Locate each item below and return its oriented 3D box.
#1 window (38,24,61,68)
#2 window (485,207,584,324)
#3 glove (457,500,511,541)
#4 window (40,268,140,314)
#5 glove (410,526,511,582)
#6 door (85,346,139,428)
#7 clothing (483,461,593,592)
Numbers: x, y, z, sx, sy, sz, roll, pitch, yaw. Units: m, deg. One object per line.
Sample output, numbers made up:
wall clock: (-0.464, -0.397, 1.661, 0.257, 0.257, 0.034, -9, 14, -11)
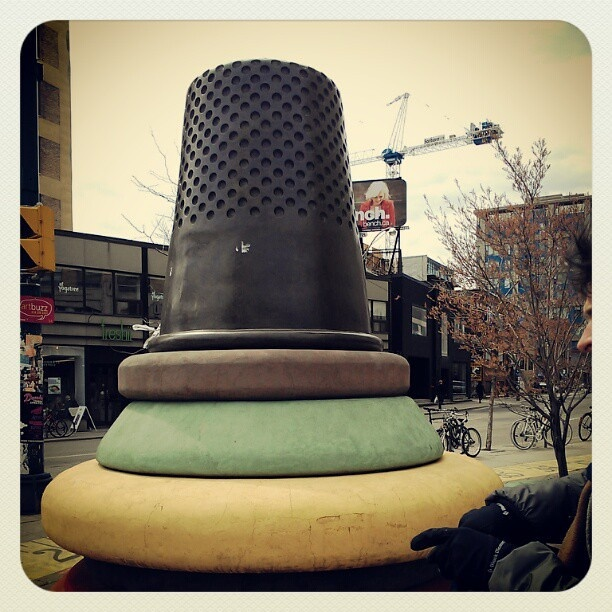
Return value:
window: (-12.279, -12.659, 27.157, 0.149, 1.160, 1.558, 22, 26, 14)
window: (4.295, -0.782, 10.736, 1.170, 2.271, 2.090, 6, -9, -43)
glove: (0.975, 1.179, 3.142, 0.281, 0.239, 0.115, 4, -1, -21)
window: (-10.026, -0.640, 27.831, 4.214, 2.348, 0.202, 5, 11, 20)
glove: (0.741, 1.240, 2.906, 0.443, 0.340, 0.183, 14, 9, -19)
door: (-9.430, 3.881, 27.552, 1.699, 3.508, 1.861, -1, 8, -4)
clothing: (1.258, 1.241, 3.303, 0.263, 0.738, 0.622, -3, -31, 44)
